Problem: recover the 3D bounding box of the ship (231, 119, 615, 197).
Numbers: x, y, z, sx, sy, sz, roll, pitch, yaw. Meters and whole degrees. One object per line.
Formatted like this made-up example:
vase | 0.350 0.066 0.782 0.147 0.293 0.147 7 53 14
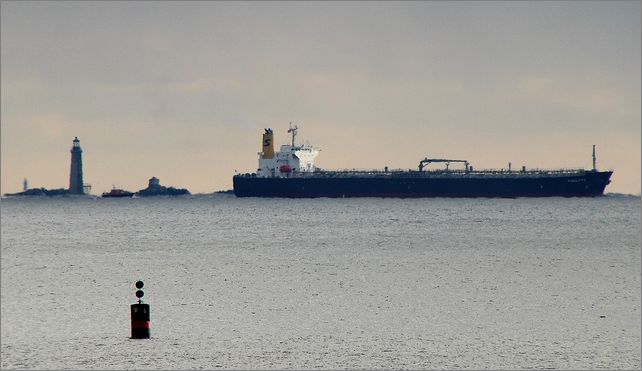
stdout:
ship | 14.732 -3.328 183.976 54.884 10.250 8.511 0 -4 4
